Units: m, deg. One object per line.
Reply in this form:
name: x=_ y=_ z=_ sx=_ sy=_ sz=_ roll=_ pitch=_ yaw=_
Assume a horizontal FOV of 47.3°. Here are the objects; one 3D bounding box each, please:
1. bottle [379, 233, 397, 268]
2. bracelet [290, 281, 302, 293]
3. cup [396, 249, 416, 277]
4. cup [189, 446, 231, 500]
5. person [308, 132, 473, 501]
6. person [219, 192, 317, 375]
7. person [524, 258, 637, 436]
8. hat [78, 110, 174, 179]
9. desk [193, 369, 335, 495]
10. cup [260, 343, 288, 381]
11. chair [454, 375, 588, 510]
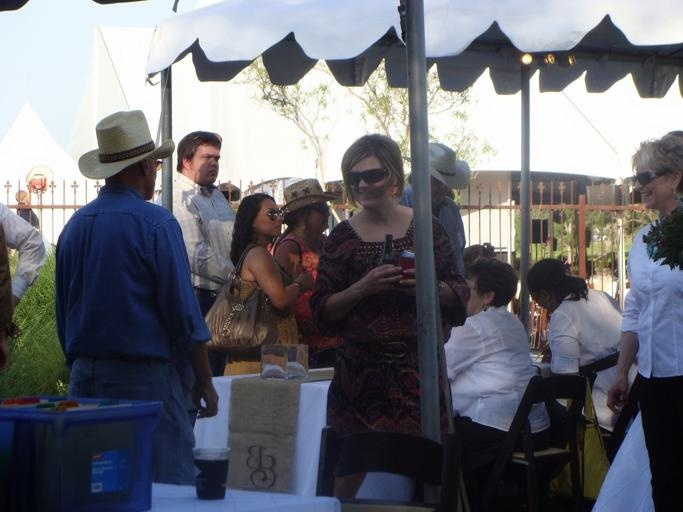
bottle: x=0.231 y=-0.032 z=3.751 sx=0.078 sy=0.143 sz=0.067 roll=0 pitch=-2 yaw=-19
bracelet: x=-0.276 y=0.200 z=5.007 sx=0.044 sy=0.053 sz=0.047 roll=4 pitch=-5 yaw=-21
cup: x=0.304 y=0.025 z=3.660 sx=0.080 sy=0.135 sz=0.084 roll=3 pitch=-6 yaw=0
cup: x=-0.476 y=0.787 z=2.918 sx=0.137 sy=0.197 sz=0.157 roll=6 pitch=4 yaw=7
person: x=0.223 y=0.323 z=3.772 sx=0.719 sy=1.879 sz=0.682 roll=-1 pitch=-2 yaw=5
person: x=-0.483 y=0.453 z=5.236 sx=0.472 sy=1.724 sz=0.494 roll=-3 pitch=4 yaw=-31
person: x=1.718 y=0.843 z=5.854 sx=0.644 sy=1.638 sz=0.767 roll=-18 pitch=16 yaw=-39
hat: x=-1.017 y=-0.565 z=3.800 sx=0.423 sy=0.316 sz=0.507 roll=5 pitch=14 yaw=32
desk: x=-0.315 y=0.949 z=4.547 sx=0.611 sy=0.421 sz=0.675 roll=-2 pitch=-7 yaw=25
cup: x=-0.387 y=0.644 z=4.735 sx=0.158 sy=0.196 sz=0.179 roll=-1 pitch=-4 yaw=7
chair: x=1.225 y=1.178 z=4.828 sx=0.418 sy=0.933 sz=0.938 roll=-3 pitch=-2 yaw=44
